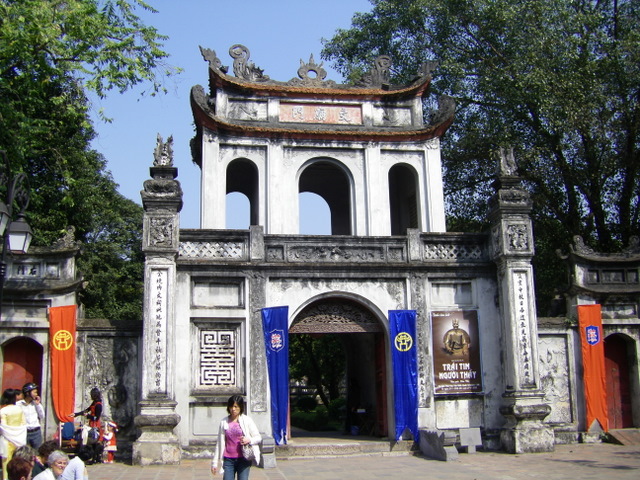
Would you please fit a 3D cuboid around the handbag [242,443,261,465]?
[{"bbox_3d":[-1.107,3.423,12.823,0.245,0.287,0.301,-3,-10,4],"label":"handbag"}]
